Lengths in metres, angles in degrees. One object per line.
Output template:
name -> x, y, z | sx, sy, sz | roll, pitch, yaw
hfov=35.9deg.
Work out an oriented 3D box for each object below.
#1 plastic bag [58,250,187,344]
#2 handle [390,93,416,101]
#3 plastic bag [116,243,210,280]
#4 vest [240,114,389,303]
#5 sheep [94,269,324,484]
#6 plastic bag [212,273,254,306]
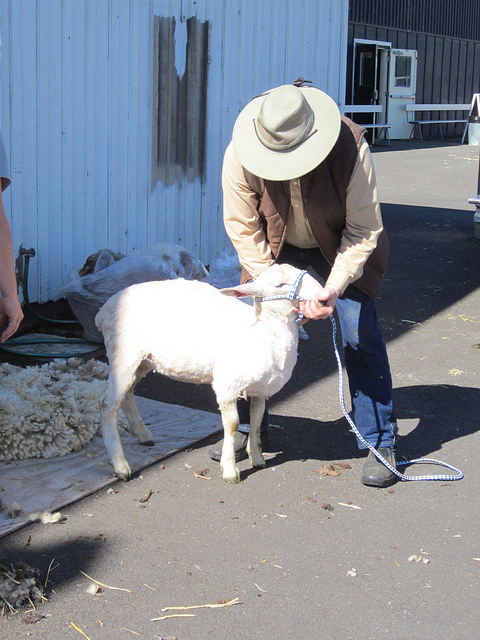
plastic bag -> -0.895, -0.260, 5.715 | 0.948, 0.526, 0.692 | -10, 17, -13
handle -> 5.670, -7.722, 25.527 | 0.212, 0.240, 1.875 | 10, 16, 34
plastic bag -> -0.667, -0.478, 6.104 | 0.543, 0.165, 0.535 | -1, 14, 3
vest -> 0.357, -0.494, 3.429 | 0.686, 0.882, 0.565 | 2, 14, 8
sheep -> -0.129, 0.250, 3.626 | 1.198, 0.904, 0.581 | 2, 5, 17
plastic bag -> -0.060, -0.299, 6.495 | 0.283, 0.345, 0.134 | -1, 6, -30
